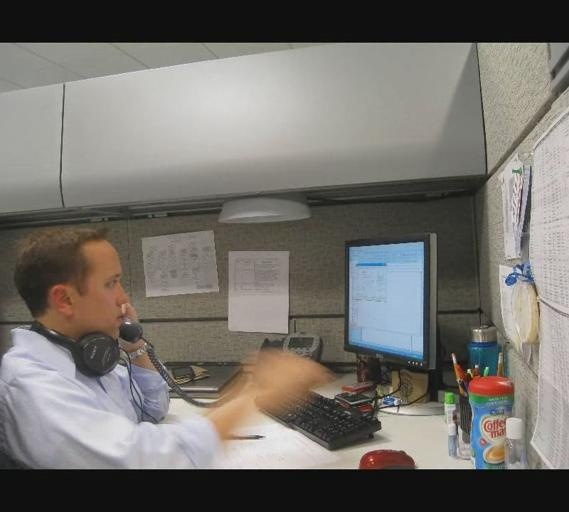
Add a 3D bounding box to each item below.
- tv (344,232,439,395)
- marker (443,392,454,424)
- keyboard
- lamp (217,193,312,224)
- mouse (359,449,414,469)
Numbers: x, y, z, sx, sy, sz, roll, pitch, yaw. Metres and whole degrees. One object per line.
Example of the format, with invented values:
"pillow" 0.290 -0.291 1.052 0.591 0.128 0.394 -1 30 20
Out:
"tv" 0.224 0.123 1.081 0.045 0.314 0.321 3 -4 -25
"marker" 0.268 0.244 0.850 0.015 0.046 0.045 -4 -5 23
"keyboard" 0.073 0.290 0.941 0.141 0.066 0.175 0 -6 -30
"lamp" -0.052 -0.118 1.317 0.219 0.054 0.126 -4 -5 11
"mouse" 0.150 0.300 0.770 0.081 0.022 0.042 -3 -5 -1
